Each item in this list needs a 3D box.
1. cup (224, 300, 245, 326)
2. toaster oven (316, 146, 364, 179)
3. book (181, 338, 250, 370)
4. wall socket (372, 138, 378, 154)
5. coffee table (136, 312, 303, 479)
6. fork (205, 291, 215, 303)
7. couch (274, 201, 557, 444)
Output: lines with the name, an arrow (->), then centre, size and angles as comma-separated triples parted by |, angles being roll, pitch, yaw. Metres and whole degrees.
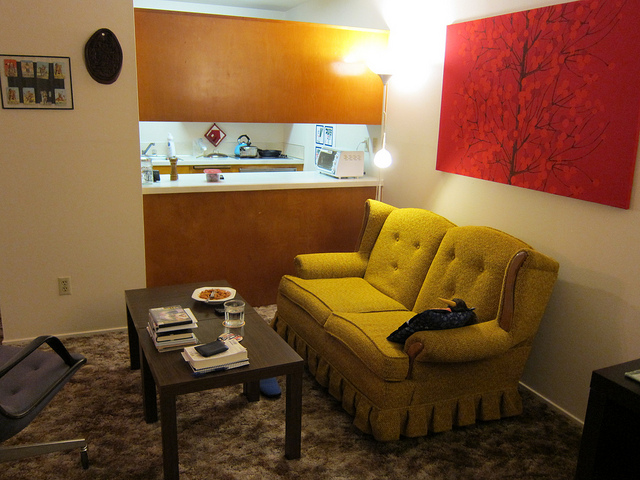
cup -> -0.503, 0.432, 2.872 | 0.123, 0.143, 0.130 | 2, 15, 0
toaster oven -> 0.189, -0.782, 4.768 | 0.335, 0.275, 0.521 | -3, 16, -26
book -> -0.551, 0.586, 2.545 | 0.333, 0.082, 0.245 | -5, 17, -22
wall socket -> 0.541, -0.927, 4.689 | 0.012, 0.142, 0.069 | -10, 19, -34
coffee table -> -0.575, 0.847, 2.740 | 0.784, 0.624, 0.749 | -6, 18, -25
fork -> -0.700, 0.373, 3.080 | 0.043, 0.047, 0.097 | 5, 16, 11
couch -> 0.541, 0.449, 3.450 | 1.255, 1.132, 1.803 | -5, 14, -27
